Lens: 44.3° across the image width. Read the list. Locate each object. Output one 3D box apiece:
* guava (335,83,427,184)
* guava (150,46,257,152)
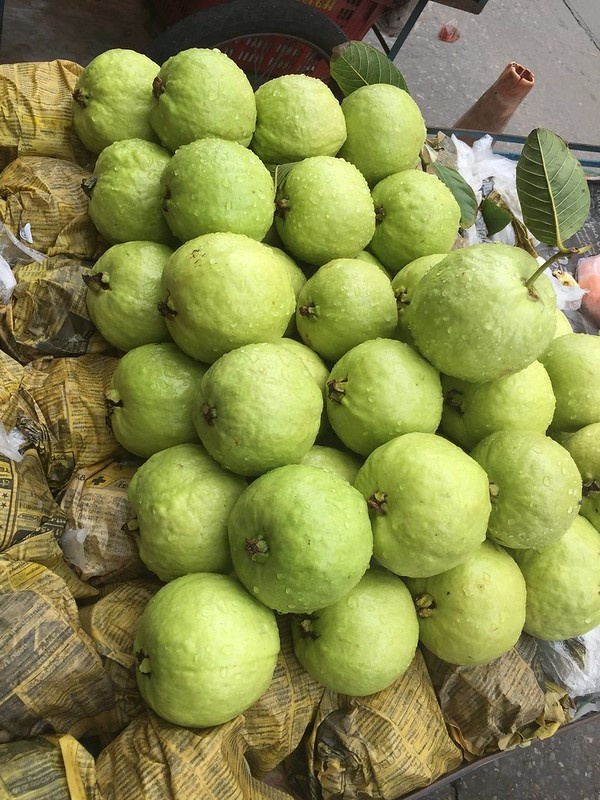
[{"bbox_3d":[0.203,-0.652,1.752,0.202,0.218,0.194,-7,30,32],"label":"guava"},{"bbox_3d":[-0.174,-0.603,1.559,0.279,0.220,0.205,1,78,-1],"label":"guava"}]
